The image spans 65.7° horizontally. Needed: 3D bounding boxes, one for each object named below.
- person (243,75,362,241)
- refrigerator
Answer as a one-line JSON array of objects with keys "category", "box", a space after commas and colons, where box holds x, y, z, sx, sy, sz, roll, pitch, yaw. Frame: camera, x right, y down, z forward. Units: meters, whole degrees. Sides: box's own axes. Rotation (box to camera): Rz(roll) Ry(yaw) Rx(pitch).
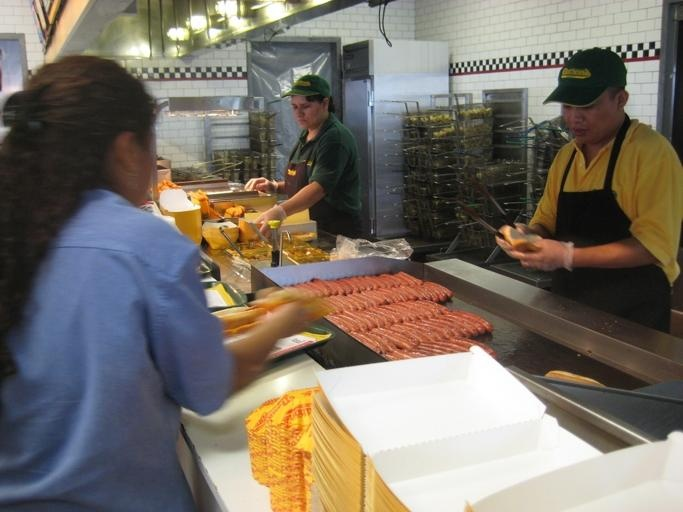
[{"category": "person", "box": [-0.206, -0.770, 4.354, 0.839, 1.335, 0.814, -1, 16, -28]}, {"category": "refrigerator", "box": [0.846, -1.626, 7.372, 1.537, 2.665, 1.231, -5, 14, 6]}]
